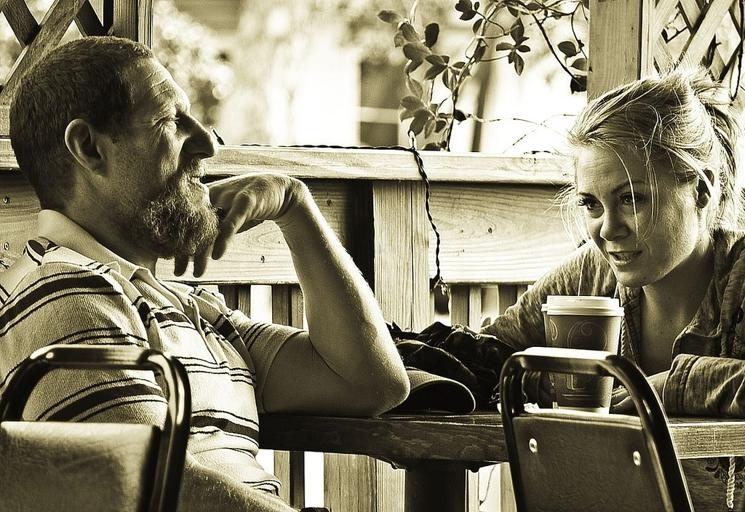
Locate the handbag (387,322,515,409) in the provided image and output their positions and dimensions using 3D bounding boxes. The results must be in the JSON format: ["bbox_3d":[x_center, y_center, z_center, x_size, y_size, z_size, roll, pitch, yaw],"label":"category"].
[{"bbox_3d":[0.235,0.283,2.802,0.284,0.106,0.206,22,-2,45],"label":"handbag"}]

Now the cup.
[{"bbox_3d":[0.531,0.247,2.476,0.246,0.337,0.254,1,-10,0],"label":"cup"}]
